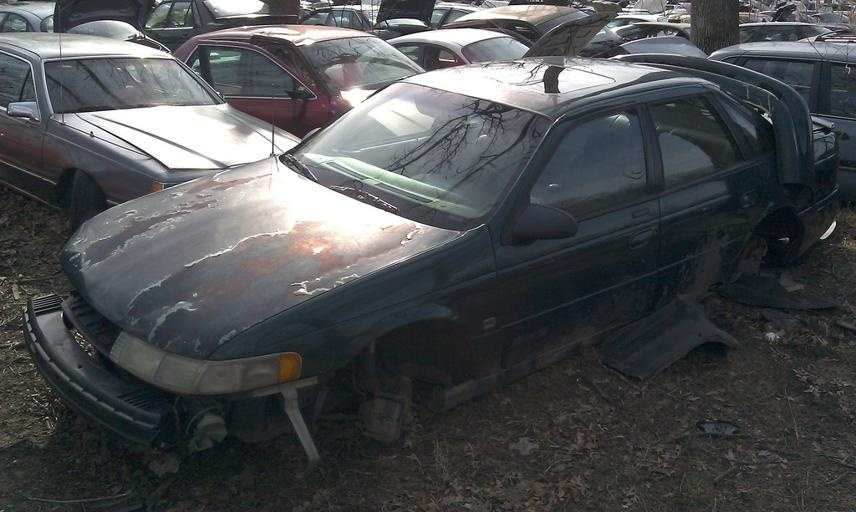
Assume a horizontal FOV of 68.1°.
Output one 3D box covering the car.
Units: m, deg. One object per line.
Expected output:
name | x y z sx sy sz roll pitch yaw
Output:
car | 0.469 0.057 5.904 6.919 2.182 3.188 -17 42 -23

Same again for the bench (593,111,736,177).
bench | 2.171 -0.953 5.771 1.013 0.245 0.613 12 64 -30
